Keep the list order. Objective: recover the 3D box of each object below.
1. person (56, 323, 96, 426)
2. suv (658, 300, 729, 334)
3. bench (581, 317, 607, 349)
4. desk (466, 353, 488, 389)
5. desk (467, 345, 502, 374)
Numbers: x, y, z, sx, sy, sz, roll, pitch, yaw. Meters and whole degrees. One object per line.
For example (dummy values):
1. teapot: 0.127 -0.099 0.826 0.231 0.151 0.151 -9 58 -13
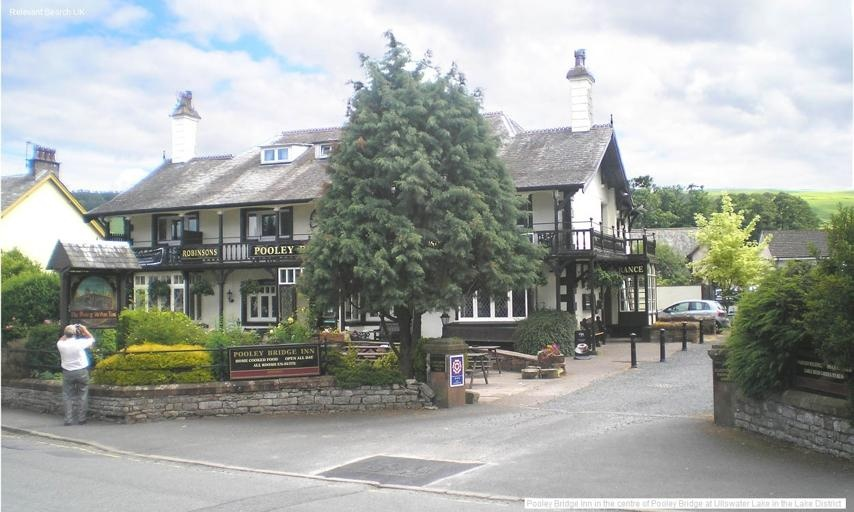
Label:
1. person: -9.934 3.344 24.115 0.861 2.794 1.122 1 -5 -23
2. suv: 13.098 2.826 41.677 3.111 1.308 1.869 2 -3 24
3. bench: 7.105 3.306 36.179 0.593 1.262 1.285 -8 4 13
4. desk: 1.825 3.896 29.568 1.002 0.908 0.848 1 5 19
5. desk: 2.146 3.972 30.956 1.396 0.999 1.114 -4 -5 24
